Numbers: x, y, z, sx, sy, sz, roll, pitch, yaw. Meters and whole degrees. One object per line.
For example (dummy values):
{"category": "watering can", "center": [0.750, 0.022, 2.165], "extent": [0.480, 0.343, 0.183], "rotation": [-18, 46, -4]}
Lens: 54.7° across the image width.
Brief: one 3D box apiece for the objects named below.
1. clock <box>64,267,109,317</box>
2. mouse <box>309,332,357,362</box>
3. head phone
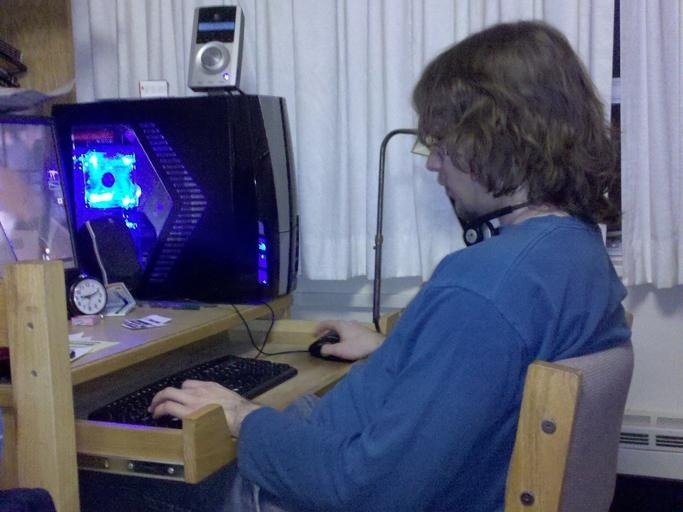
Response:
{"category": "clock", "center": [-0.655, 0.097, 1.699], "extent": [0.049, 0.130, 0.098], "rotation": [-9, 4, 30]}
{"category": "mouse", "center": [-0.034, 0.248, 1.826], "extent": [0.091, 0.034, 0.059], "rotation": [18, -2, 15]}
{"category": "head phone", "center": [0.323, -0.062, 1.399], "extent": [0.102, 0.036, 0.084], "rotation": [-30, -3, 27]}
